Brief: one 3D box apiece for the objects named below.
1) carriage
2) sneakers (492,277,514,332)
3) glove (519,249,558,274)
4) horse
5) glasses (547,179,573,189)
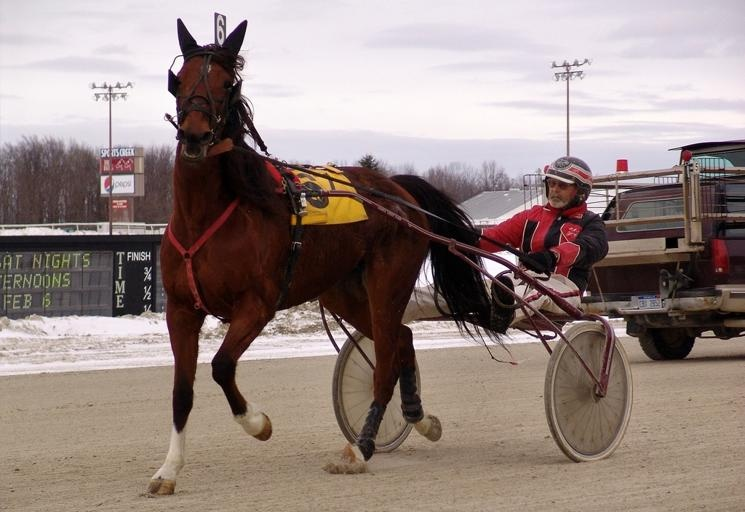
[{"bbox_3d":[0.250,0.390,7.952,1.983,4.217,6.255,-7,-12,44],"label":"carriage"},{"bbox_3d":[1.129,0.436,6.626,0.166,0.510,0.199,16,35,32],"label":"sneakers"},{"bbox_3d":[1.403,0.044,6.334,0.201,0.138,0.255,7,-1,-19],"label":"glove"},{"bbox_3d":[-0.501,-0.030,6.005,2.850,3.522,0.831,-7,6,-40],"label":"horse"},{"bbox_3d":[1.674,-0.635,6.817,0.112,0.094,0.154,15,2,2],"label":"glasses"}]
